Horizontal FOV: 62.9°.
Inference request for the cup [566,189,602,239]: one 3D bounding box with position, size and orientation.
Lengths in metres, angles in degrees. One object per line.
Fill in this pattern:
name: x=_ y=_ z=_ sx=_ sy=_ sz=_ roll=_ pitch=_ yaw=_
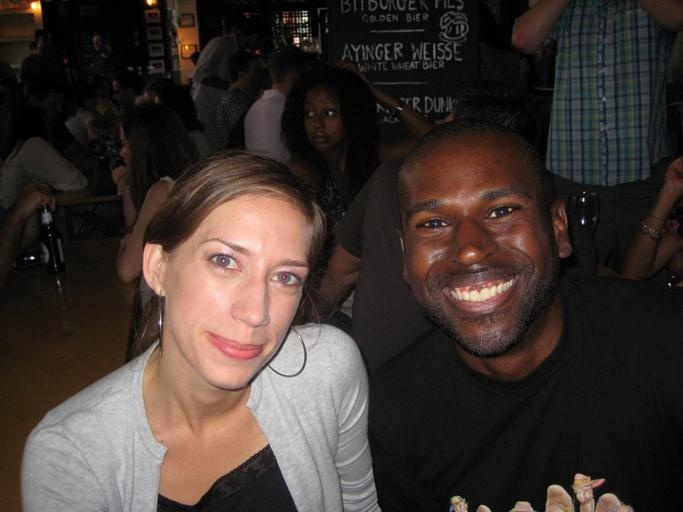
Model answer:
cup: x=1.077 y=-0.187 z=2.499 sx=0.122 sy=0.212 sz=0.078 roll=1 pitch=15 yaw=17
